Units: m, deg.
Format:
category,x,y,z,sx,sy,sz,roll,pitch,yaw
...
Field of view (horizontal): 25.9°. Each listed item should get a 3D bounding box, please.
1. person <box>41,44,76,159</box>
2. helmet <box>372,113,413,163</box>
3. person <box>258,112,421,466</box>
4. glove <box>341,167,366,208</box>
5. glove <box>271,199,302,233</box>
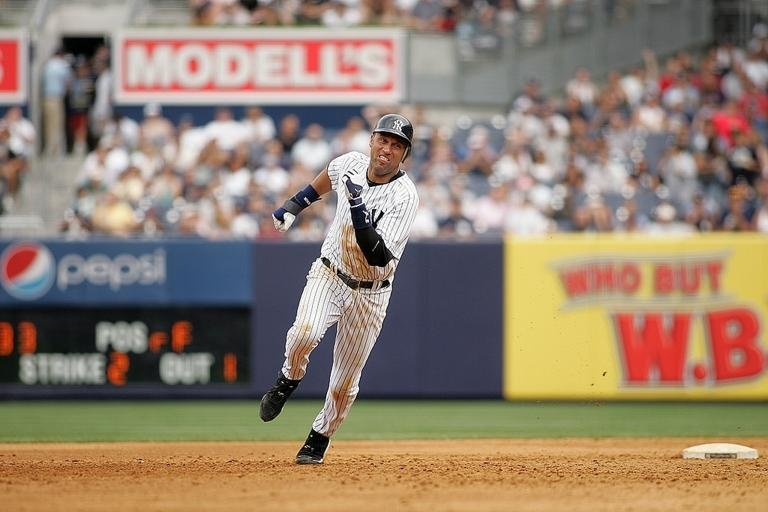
category,x,y,z,sx,sy,sz,roll,pitch,yaw
person,-3.394,-1.612,17.241,0.295,1.159,0.488,1,-1,-11
helmet,0.126,-1.034,14.450,0.307,0.393,0.373,13,-2,0
person,-0.378,0.303,14.443,1.210,3.056,0.516,0,-2,26
glove,-0.266,-0.596,14.159,0.092,0.319,0.193,-23,-29,39
glove,-0.867,-0.352,14.788,0.230,0.290,0.123,41,-7,9
